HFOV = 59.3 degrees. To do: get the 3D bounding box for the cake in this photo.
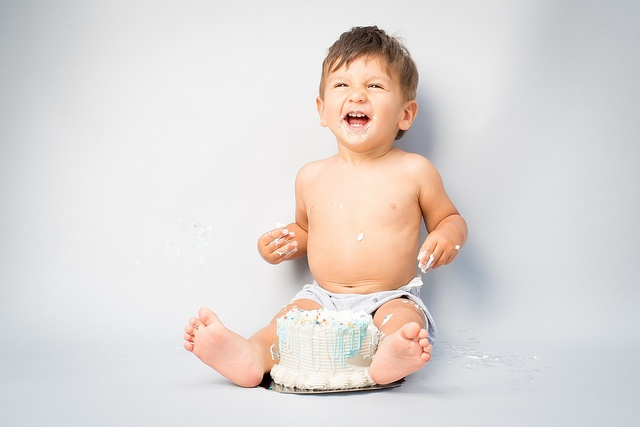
[{"bbox_3d":[0.012,0.548,2.294,0.416,0.253,0.442,2,-5,-40],"label":"cake"}]
